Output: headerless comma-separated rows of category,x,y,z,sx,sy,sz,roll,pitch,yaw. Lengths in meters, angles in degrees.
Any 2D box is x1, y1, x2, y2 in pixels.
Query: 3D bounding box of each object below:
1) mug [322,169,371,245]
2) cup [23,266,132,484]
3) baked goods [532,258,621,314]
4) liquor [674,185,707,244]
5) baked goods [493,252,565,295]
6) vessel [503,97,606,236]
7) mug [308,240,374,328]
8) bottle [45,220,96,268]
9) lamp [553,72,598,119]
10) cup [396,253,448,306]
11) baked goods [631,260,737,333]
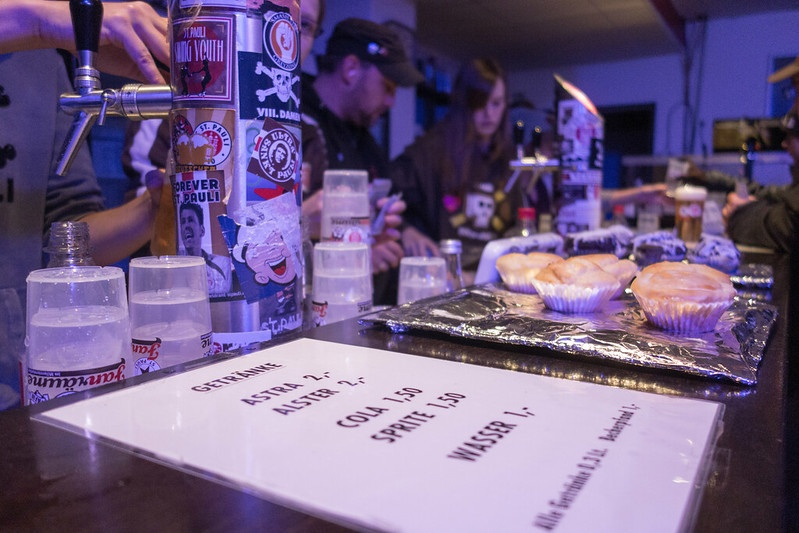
mug,-0.101,-0.100,1.207,0.100,0.144,0.095,-2,6,-10
cup,-0.395,0.091,0.805,0.119,0.175,0.128,4,14,-1
baked goods,0.282,0.023,1.003,0.091,0.054,0.094,0,1,-41
liquor,0.781,-0.148,1.759,0.083,0.157,0.300,4,7,23
baked goods,0.216,0.013,1.118,0.077,0.045,0.086,1,-7,1
vessel,0.391,-0.246,1.585,0.189,0.307,0.197,13,14,41
mug,-0.088,0.026,1.101,0.116,0.176,0.124,3,3,29
bottle,-0.439,-0.031,0.895,0.065,0.070,0.061,0,2,-8
lamp,0.411,-0.403,1.508,0.110,0.105,0.102,3,7,15
cup,0.041,0.023,1.192,0.085,0.082,0.085,0,3,0
baked goods,0.408,0.044,0.944,0.120,0.087,0.127,-4,8,-42
